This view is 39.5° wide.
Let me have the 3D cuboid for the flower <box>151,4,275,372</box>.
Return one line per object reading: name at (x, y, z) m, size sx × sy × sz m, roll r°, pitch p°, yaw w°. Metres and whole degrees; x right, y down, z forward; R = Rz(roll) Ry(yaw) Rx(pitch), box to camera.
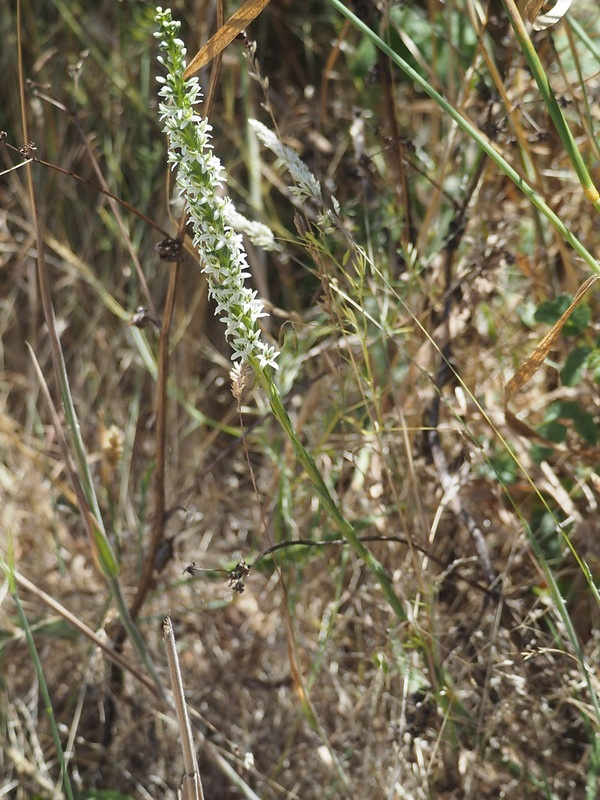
flower at (-0.089, -0.205, 0.944) m, size 0.135 × 0.442 × 0.401 m, roll -1°, pitch 32°, yaw -8°
